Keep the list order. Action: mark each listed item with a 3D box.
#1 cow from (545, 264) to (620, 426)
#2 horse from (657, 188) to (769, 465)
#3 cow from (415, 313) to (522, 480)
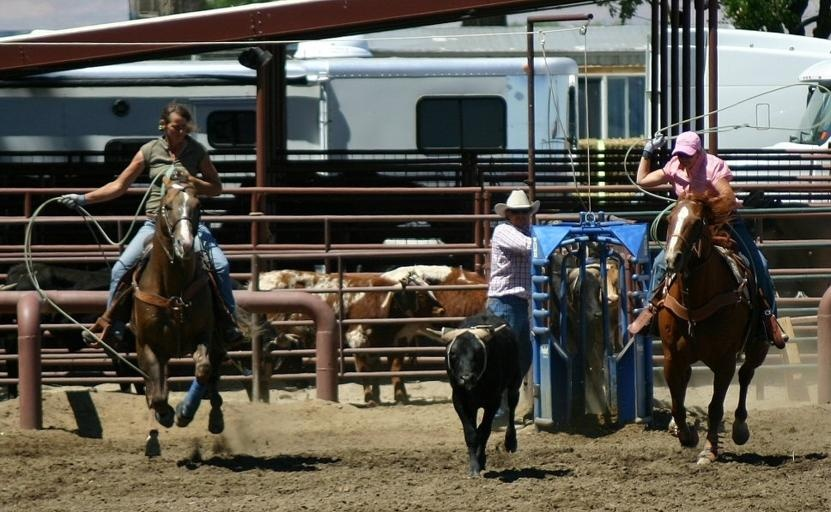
[{"bbox_3d":[2.821,1.308,23.409,0.881,2.522,1.650,-2,3,32],"label":"cow"},{"bbox_3d":[4.318,1.013,21.723,1.575,3.882,1.007,-3,2,-9],"label":"horse"},{"bbox_3d":[1.012,2.071,22.406,0.916,2.072,3.442,-5,-5,11],"label":"cow"}]
